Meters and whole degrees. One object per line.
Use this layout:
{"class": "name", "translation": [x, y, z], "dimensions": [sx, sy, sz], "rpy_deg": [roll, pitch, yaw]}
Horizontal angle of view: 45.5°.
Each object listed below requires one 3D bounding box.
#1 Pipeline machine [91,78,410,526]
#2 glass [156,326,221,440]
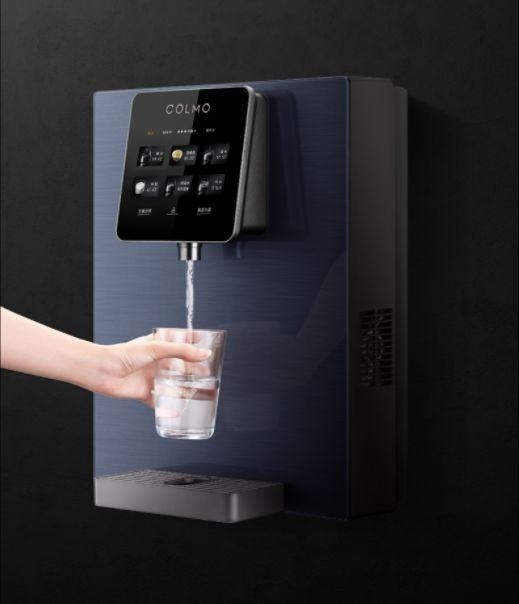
{"class": "Pipeline machine", "translation": [-0.045, -0.001, 0.647], "dimensions": [0.324, 0.258, 0.394], "rpy_deg": [-2, 87, 35]}
{"class": "glass", "translation": [-0.062, 0.073, 0.543], "dimensions": [0.066, 0.062, 0.093], "rpy_deg": [3, 88, -16]}
